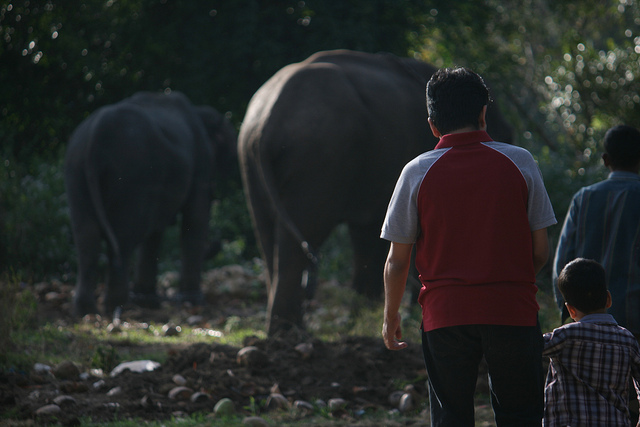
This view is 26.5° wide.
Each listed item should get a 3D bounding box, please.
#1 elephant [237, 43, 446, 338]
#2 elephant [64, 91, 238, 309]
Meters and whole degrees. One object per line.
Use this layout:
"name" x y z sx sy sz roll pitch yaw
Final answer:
"elephant" 0.390 -0.359 11.645 1.086 2.324 2.569 2 11 34
"elephant" -1.390 -0.133 12.339 0.929 2.035 2.306 4 7 27
